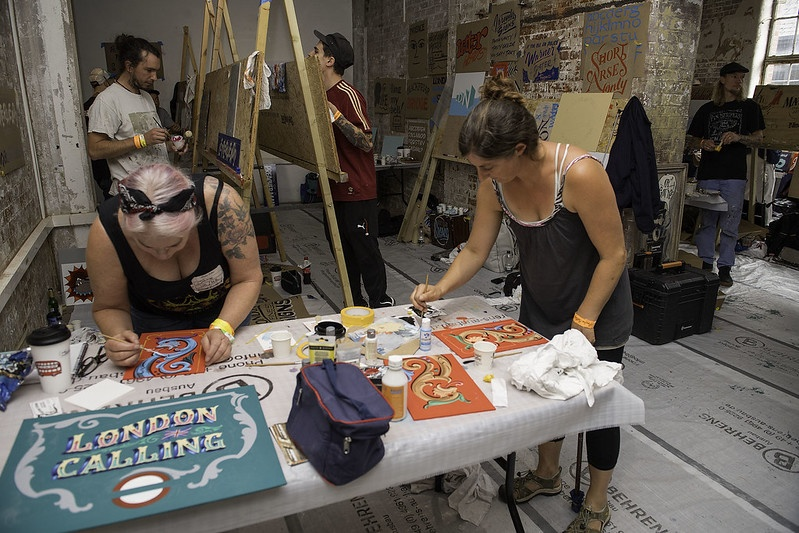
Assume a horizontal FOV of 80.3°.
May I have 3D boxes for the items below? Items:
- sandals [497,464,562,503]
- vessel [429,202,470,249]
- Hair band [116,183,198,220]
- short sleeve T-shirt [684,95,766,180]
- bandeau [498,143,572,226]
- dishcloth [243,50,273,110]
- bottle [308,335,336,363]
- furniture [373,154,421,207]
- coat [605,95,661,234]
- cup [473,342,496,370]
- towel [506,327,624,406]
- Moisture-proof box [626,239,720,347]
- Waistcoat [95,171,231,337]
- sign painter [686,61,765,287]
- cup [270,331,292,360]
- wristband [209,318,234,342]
[{"bbox_3d":[0.698,1.163,2.556,0.378,0.162,0.170,-3,1,-9],"label":"sandals"},{"bbox_3d":[0.670,-0.542,6.283,0.283,0.500,0.514,-16,19,-25],"label":"vessel"},{"bbox_3d":[-0.999,-0.266,1.995,0.299,0.153,0.294,-5,12,-40],"label":"Hair band"},{"bbox_3d":[3.649,-1.443,5.286,0.757,0.896,0.301,7,32,39],"label":"short sleeve T-shirt"},{"bbox_3d":[0.650,-0.352,2.154,0.303,0.419,0.148,5,18,28],"label":"bandeau"},{"bbox_3d":[-0.969,-1.337,3.331,0.162,0.344,0.144,-11,-14,-2],"label":"dishcloth"},{"bbox_3d":[-0.308,0.336,1.912,0.106,0.111,0.039,1,18,-3],"label":"bottle"},{"bbox_3d":[-0.033,-1.390,7.482,0.510,0.464,0.942,-3,17,-11],"label":"furniture"},{"bbox_3d":[2.111,-0.940,4.237,0.430,0.989,0.353,0,8,15],"label":"coat"},{"bbox_3d":[0.351,0.368,2.000,0.099,0.080,0.103,0,13,0],"label":"cup"},{"bbox_3d":[0.672,0.368,1.856,0.354,0.127,0.275,-13,27,-31],"label":"towel"},{"bbox_3d":[2.343,0.209,4.177,0.688,0.671,0.558,-8,18,-25],"label":"Moisture-proof box"},{"bbox_3d":[-1.054,-0.048,2.127,0.546,0.721,0.370,-16,37,-25],"label":"Waistcoat"},{"bbox_3d":[3.469,-1.034,5.166,0.679,2.252,0.920,10,23,29],"label":"sign painter"},{"bbox_3d":[-0.499,0.338,2.018,0.105,0.084,0.105,0,14,0],"label":"cup"},{"bbox_3d":[-0.781,0.285,2.102,0.073,0.071,0.048,9,57,25],"label":"wristband"}]
